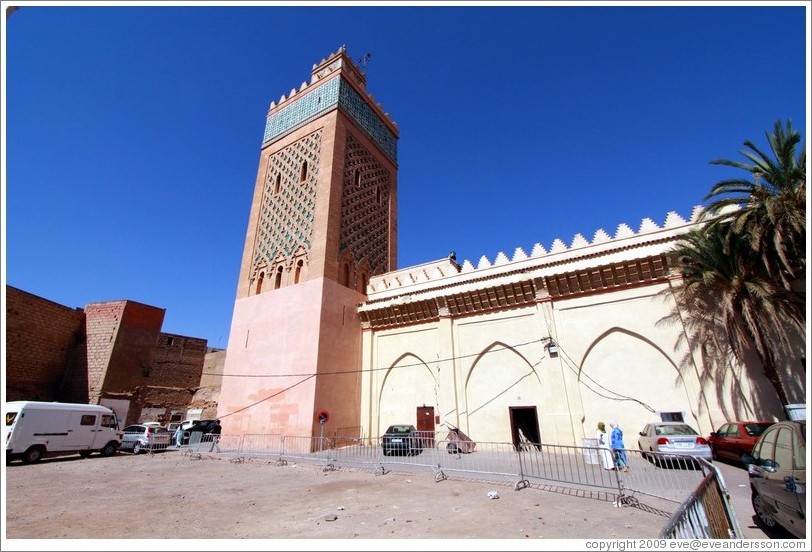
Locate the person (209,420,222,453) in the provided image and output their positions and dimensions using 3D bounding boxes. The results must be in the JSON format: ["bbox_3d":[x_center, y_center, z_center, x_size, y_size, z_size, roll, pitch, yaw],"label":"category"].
[{"bbox_3d":[-8.120,6.920,18.573,0.708,1.081,0.302,1,-2,37],"label":"person"}]

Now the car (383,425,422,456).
[{"bbox_3d":[-0.116,5.773,15.087,1.309,0.798,2.118,0,-13,-5],"label":"car"}]

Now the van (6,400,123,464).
[{"bbox_3d":[-11.678,5.412,14.802,1.151,1.303,2.737,-8,-28,2],"label":"van"}]

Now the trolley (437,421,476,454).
[{"bbox_3d":[1.853,6.189,16.108,0.579,0.943,1.428,17,-36,-36],"label":"trolley"}]

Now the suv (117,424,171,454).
[{"bbox_3d":[-11.173,6.926,18.360,1.954,0.867,1.185,-5,-27,14],"label":"suv"}]
